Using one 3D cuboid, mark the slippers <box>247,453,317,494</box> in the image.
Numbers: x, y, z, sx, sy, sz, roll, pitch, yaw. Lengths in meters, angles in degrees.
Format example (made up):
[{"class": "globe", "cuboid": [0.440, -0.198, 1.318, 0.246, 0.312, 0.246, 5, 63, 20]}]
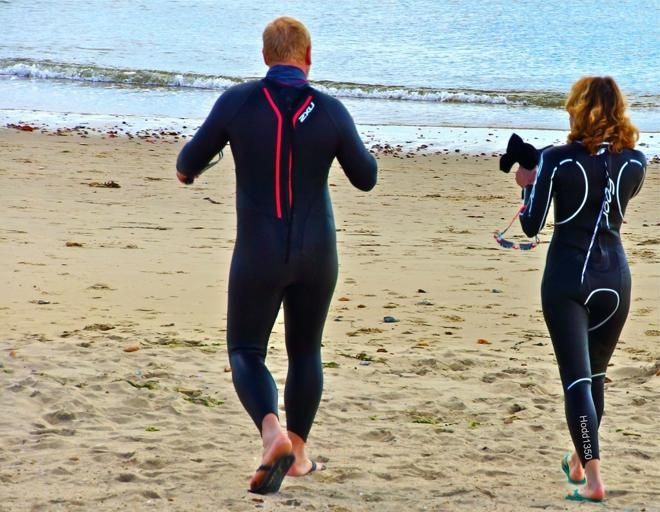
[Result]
[{"class": "slippers", "cuboid": [-0.378, 1.394, 6.304, 0.186, 0.447, 0.119, 44, 10, -40]}]
